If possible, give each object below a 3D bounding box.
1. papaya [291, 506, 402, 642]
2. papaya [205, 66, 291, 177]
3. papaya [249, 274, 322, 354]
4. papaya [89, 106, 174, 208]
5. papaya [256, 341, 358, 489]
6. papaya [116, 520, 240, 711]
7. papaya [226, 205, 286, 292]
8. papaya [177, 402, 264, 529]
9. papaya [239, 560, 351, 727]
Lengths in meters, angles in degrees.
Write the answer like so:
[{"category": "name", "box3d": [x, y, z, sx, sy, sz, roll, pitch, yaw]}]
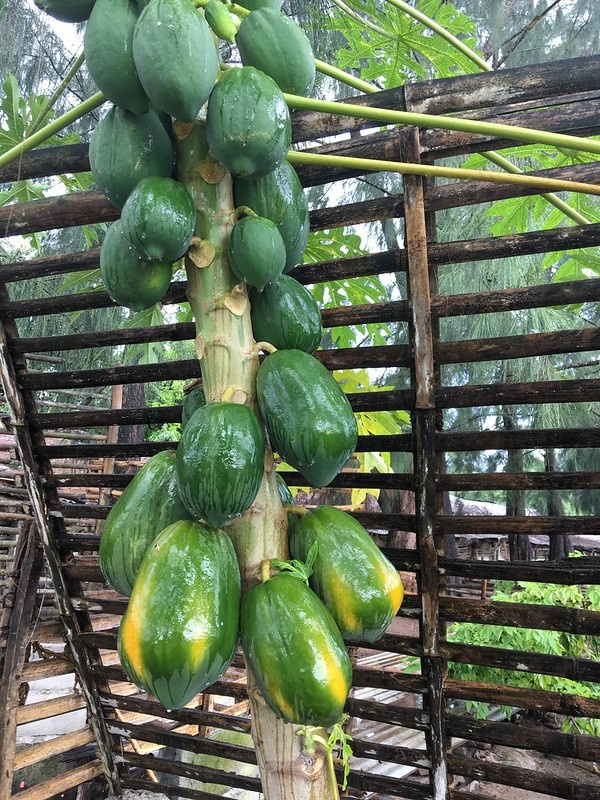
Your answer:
[{"category": "papaya", "box3d": [0.080, 0.308, 1.241, 0.151, 0.279, 0.135, -29, -17, -24]}, {"category": "papaya", "box3d": [-0.095, -0.480, 1.191, 0.145, 0.186, 0.150, -2, -9, -8]}, {"category": "papaya", "box3d": [-0.014, -0.179, 1.341, 0.116, 0.170, 0.137, -8, 6, -18]}, {"category": "papaya", "box3d": [-0.347, -0.487, 1.288, 0.142, 0.197, 0.130, -5, 5, -13]}, {"category": "papaya", "box3d": [0.006, 0.010, 1.239, 0.189, 0.316, 0.179, -7, -57, -13]}, {"category": "papaya", "box3d": [-0.187, 0.337, 1.083, 0.192, 0.326, 0.180, 4, -32, 4]}, {"category": "papaya", "box3d": [-0.081, -0.279, 1.207, 0.107, 0.171, 0.108, -5, -10, -12]}, {"category": "papaya", "box3d": [-0.121, 0.106, 1.105, 0.142, 0.197, 0.156, 3, -2, -7]}, {"category": "papaya", "box3d": [-0.011, 0.384, 1.102, 0.153, 0.259, 0.134, -23, -19, -15]}]
